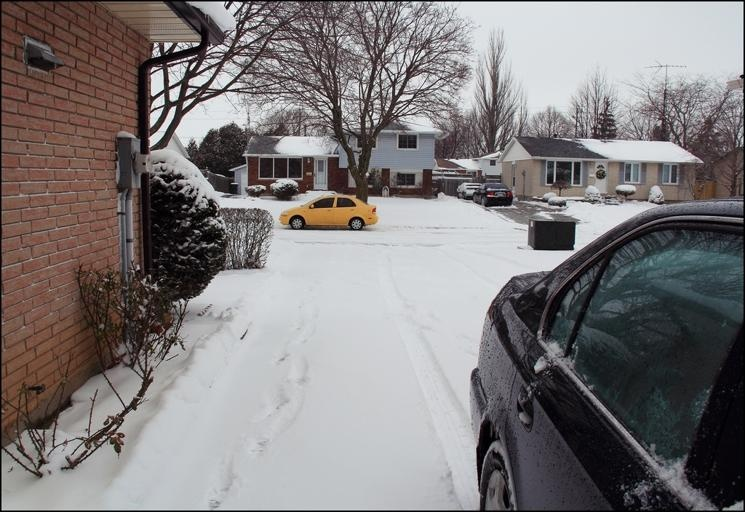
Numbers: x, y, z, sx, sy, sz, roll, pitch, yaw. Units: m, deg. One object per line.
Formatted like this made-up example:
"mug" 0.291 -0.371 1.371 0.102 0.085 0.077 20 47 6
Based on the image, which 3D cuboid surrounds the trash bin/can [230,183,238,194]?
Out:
"trash bin/can" -12.260 -5.985 42.921 0.801 1.042 0.749 -1 2 -11
